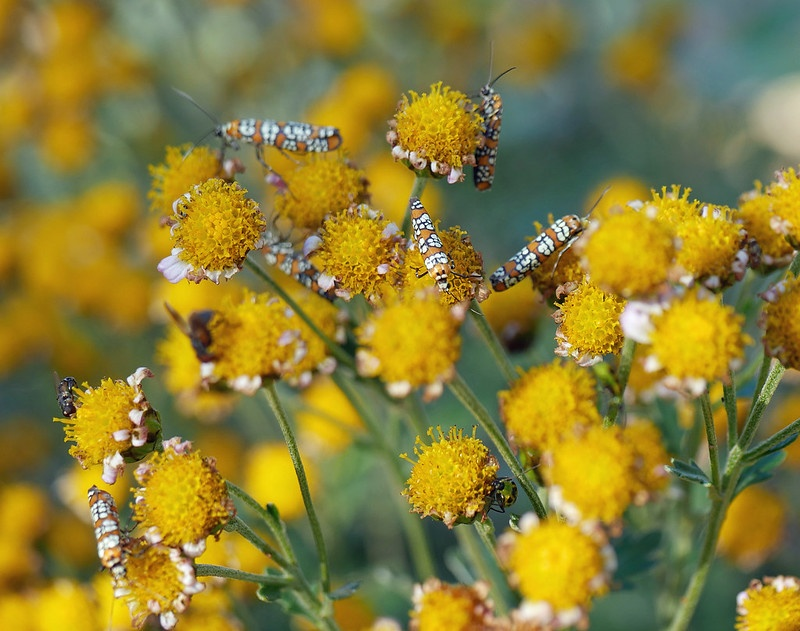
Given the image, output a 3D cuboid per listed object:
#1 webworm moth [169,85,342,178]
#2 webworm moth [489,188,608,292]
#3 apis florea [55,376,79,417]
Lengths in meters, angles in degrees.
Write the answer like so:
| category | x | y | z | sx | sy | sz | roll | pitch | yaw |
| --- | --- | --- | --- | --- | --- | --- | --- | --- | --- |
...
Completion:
| category | x | y | z | sx | sy | sz | roll | pitch | yaw |
| --- | --- | --- | --- | --- | --- | --- | --- | --- | --- |
| webworm moth | -0.316 | -0.460 | 2.563 | 0.311 | 0.356 | 0.338 | -5 | 5 | 8 |
| webworm moth | 0.355 | -0.166 | 2.231 | 0.342 | 0.110 | 0.111 | -33 | 31 | 2 |
| apis florea | -0.760 | 0.191 | 2.250 | 0.065 | 0.033 | 0.106 | -11 | 47 | -10 |
